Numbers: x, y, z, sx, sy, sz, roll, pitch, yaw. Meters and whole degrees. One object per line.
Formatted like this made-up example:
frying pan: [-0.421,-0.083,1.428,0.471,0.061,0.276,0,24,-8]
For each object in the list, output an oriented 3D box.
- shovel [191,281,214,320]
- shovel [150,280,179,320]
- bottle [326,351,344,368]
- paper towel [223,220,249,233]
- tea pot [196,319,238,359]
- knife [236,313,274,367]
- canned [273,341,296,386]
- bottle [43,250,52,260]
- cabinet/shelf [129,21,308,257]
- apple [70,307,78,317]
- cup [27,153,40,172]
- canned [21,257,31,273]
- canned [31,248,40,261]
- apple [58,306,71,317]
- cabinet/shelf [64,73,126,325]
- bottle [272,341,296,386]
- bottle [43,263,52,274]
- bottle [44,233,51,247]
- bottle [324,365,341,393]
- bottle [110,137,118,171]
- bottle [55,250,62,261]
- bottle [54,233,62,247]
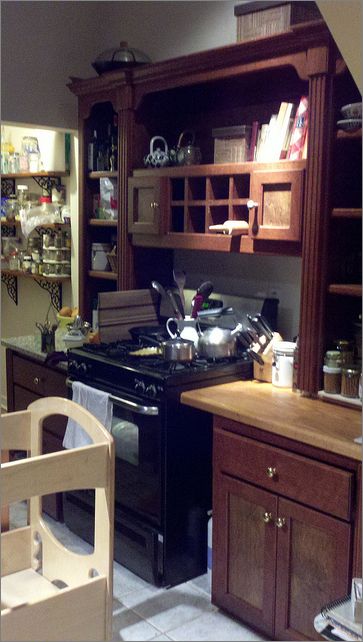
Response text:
shovel: [0.117,-0.118,2.523,0.107,0.181,0.312,0,7,17]
shovel: [-0.080,-0.110,2.577,0.135,0.222,0.463,-2,7,-2]
bottle: [0.568,0.140,1.784,0.053,0.061,0.053,10,15,43]
paper towel: [0.236,-0.405,2.076,0.106,0.058,0.098,-2,7,-2]
tea pot: [0.165,0.099,2.248,0.162,0.144,0.107,0,3,13]
knife: [0.331,0.092,2.178,0.125,0.262,0.132,-24,21,-25]
canned: [0.431,0.180,2.114,0.119,0.231,0.142,0,4,4]
bottle: [-0.976,-0.493,3.547,0.062,0.091,0.070,0,8,-14]
cabinet/shelf: [0.205,-0.796,2.349,0.427,0.957,1.209,-6,8,-40]
apple: [-0.712,-0.062,3.193,0.036,0.043,0.043,17,43,-8]
cup: [-1.087,-1.177,3.564,0.063,0.153,0.175,-5,7,-34]
canned: [-1.223,-0.448,3.796,0.087,0.178,0.099,-1,10,-14]
canned: [-1.122,-0.525,3.760,0.065,0.095,0.074,4,10,12]
apple: [-0.780,-0.061,3.229,0.059,0.073,0.079,-15,13,17]
cabinet/shelf: [-0.473,-0.720,2.870,0.313,1.475,0.665,-3,6,-18]
bottle: [0.430,0.182,2.115,0.119,0.233,0.142,0,4,2]
bottle: [-0.993,-0.397,3.579,0.067,0.082,0.077,1,14,-7]
bottle: [-1.002,-0.599,3.562,0.048,0.107,0.179,-5,8,-31]
bottle: [0.565,0.220,1.846,0.073,0.100,0.076,-1,7,0]
bottle: [-0.409,-1.017,2.898,0.046,0.209,0.057,-1,6,8]
bottle: [-0.884,-0.477,3.476,0.061,0.077,0.021,0,6,18]
bottle: [-0.896,-0.584,3.470,0.087,0.105,0.048,2,6,27]
